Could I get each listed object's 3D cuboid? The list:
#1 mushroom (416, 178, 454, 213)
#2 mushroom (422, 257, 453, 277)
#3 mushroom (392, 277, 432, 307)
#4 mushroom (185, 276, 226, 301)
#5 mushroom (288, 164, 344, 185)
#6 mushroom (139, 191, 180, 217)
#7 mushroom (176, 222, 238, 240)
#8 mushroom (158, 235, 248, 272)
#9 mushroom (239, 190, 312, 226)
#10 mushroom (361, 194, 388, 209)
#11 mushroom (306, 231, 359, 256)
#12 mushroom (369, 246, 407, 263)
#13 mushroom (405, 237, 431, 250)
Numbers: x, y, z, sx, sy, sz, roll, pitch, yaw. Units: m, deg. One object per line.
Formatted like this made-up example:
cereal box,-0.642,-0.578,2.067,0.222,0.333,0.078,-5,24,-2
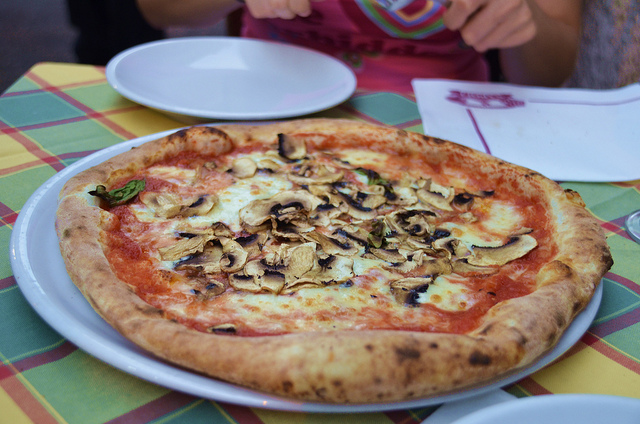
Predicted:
mushroom,0.325,-0.050,1.623,0.093,0.019,0.060,36,61,25
mushroom,0.292,0.126,1.414,0.055,0.021,0.042,7,62,6
mushroom,0.215,0.182,1.366,0.083,0.019,0.053,-11,35,-13
mushroom,-0.277,0.175,1.359,0.069,0.017,0.054,-5,32,-19
mushroom,-0.008,-0.101,1.673,0.080,0.023,0.073,-16,37,-32
mushroom,-0.432,-0.029,1.539,0.083,0.026,0.078,-13,51,-23
mushroom,-0.291,0.046,1.469,0.100,0.032,0.065,9,12,-35
mushroom,-0.278,0.094,1.406,0.152,0.030,0.102,-3,32,-5
mushroom,-0.115,-0.020,1.544,0.146,0.035,0.095,-15,35,-25
mushroom,0.148,-0.031,1.610,0.046,0.013,0.043,-30,32,-36
mushroom,0.035,0.076,1.461,0.093,0.026,0.071,-4,27,-15
mushroom,0.176,0.099,1.449,0.061,0.013,0.041,21,28,20
mushroom,0.245,0.075,1.473,0.042,0.008,0.027,8,40,-4
